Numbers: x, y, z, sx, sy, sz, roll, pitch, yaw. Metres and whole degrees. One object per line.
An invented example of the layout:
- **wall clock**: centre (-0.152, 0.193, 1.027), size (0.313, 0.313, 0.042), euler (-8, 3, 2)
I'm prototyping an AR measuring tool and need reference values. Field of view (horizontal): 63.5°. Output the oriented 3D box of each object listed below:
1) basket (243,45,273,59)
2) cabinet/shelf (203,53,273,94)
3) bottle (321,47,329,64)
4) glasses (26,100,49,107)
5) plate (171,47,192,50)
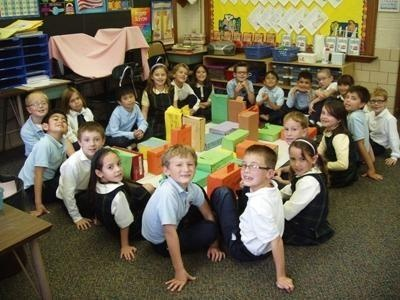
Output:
- **basket**: centre (0.911, -1.533, 5.004), size (0.227, 0.145, 0.354), euler (8, 20, 31)
- **cabinet/shelf**: centre (0.813, -1.295, 5.447), size (0.342, 0.590, 1.020), euler (-4, -7, -17)
- **bottle**: centre (1.788, -1.333, 4.584), size (0.099, 0.205, 0.320), euler (5, 20, 21)
- **glasses**: centre (-1.474, -0.410, 2.921), size (0.178, 0.049, 0.095), euler (-8, 20, -15)
- **plate**: centre (-0.283, -1.662, 5.328), size (0.344, 0.073, 0.135), euler (-3, 19, -1)
